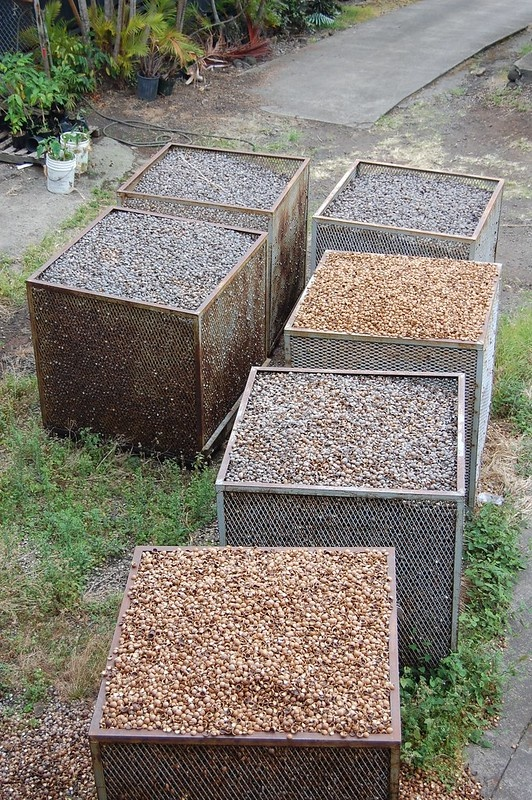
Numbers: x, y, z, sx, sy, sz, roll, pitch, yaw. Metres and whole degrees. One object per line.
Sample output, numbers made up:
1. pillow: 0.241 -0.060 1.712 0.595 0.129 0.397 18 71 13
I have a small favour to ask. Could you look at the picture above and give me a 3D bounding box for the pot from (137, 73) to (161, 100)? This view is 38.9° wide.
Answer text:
1. pot: -2.308 -6.076 14.794 0.483 0.487 0.455 4 54 -5
